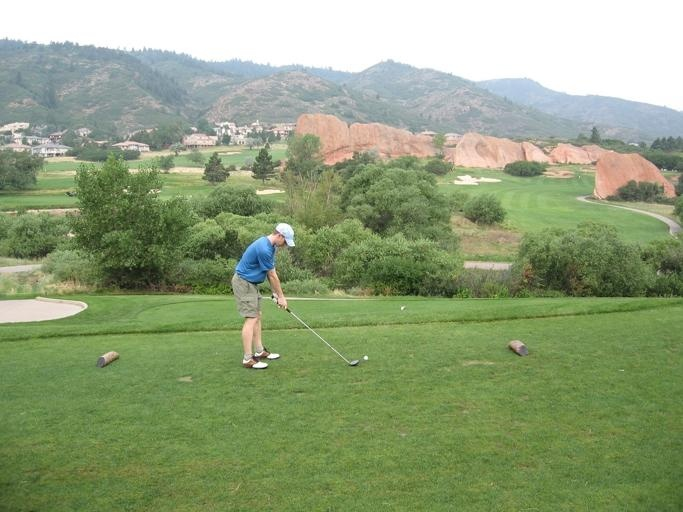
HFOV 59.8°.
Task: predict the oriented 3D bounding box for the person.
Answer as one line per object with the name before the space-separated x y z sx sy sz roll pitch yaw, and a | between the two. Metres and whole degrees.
person | -1.741 0.767 12.777 1.198 2.914 1.536 -2 8 -10

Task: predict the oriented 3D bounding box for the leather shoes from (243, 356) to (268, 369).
leather shoes | -1.799 2.214 12.359 0.439 0.195 0.233 1 4 6

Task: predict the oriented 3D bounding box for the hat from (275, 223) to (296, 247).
hat | -1.187 -0.436 12.517 0.337 0.436 0.452 -3 8 -13
